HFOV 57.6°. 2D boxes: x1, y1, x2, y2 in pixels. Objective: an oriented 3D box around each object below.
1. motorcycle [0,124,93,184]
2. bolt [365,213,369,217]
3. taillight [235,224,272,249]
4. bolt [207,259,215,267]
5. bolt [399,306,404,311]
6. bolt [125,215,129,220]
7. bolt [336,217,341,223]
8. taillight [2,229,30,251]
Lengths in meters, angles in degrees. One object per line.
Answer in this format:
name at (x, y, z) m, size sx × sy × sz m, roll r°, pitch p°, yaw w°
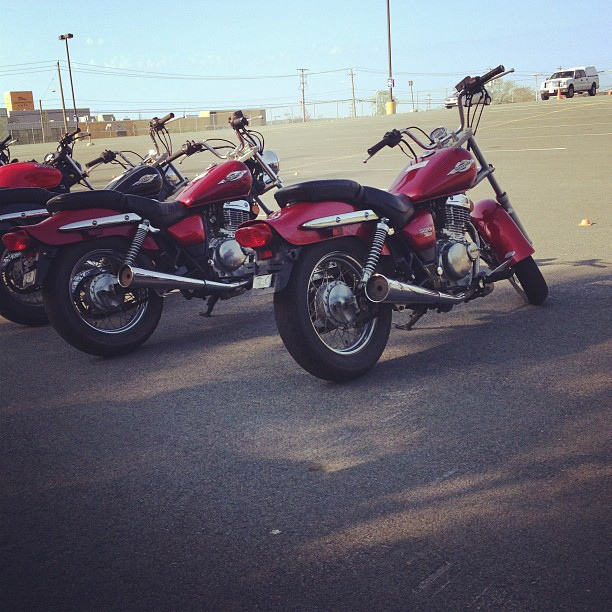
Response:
motorcycle at (-3.022, -1.777, 6.454) m, size 1.205 × 0.609 × 0.789 m, roll -15°, pitch 14°, yaw -32°
bolt at (0.403, -0.615, 3.710) m, size 0.007 × 0.024 × 0.039 m, roll 4°, pitch 15°, yaw 39°
taillight at (-0.325, -0.435, 3.410) m, size 0.255 × 0.147 × 0.082 m, roll 1°, pitch 15°, yaw 26°
bolt at (-0.887, -0.413, 5.134) m, size 0.090 × 0.067 × 0.026 m, roll 0°, pitch -5°, yaw -15°
bolt at (0.683, 0.007, 3.995) m, size 0.018 × 0.031 × 0.020 m, roll -6°, pitch -22°, yaw 6°
bolt at (-1.462, -0.733, 4.523) m, size 0.011 × 0.034 × 0.038 m, roll -2°, pitch 13°, yaw 22°
bolt at (0.202, -0.560, 3.549) m, size 0.037 × 0.027 × 0.008 m, roll -1°, pitch -4°, yaw -34°
taillight at (-2.164, -0.501, 4.152) m, size 0.173 × 0.153 × 0.100 m, roll -11°, pitch 14°, yaw -23°
